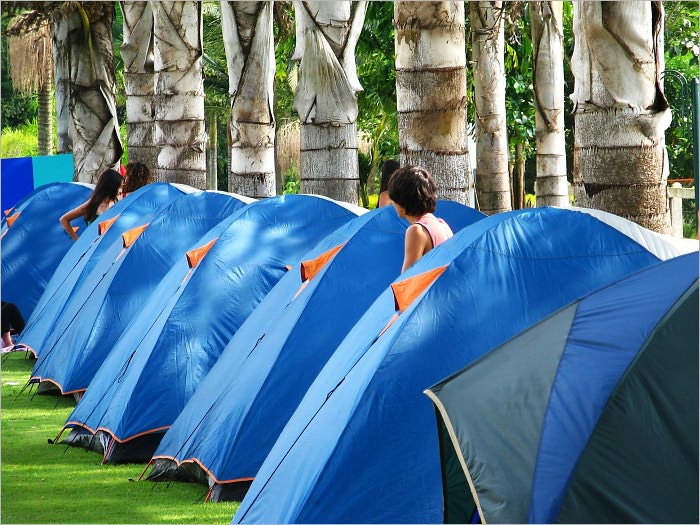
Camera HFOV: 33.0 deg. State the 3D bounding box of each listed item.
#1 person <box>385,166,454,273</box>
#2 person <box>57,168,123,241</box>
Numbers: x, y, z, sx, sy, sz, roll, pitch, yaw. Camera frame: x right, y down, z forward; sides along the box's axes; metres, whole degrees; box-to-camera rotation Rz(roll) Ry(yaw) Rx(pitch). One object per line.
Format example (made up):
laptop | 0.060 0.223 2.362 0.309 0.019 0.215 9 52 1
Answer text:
person | 0.564 -0.226 9.433 0.399 1.067 0.495 0 5 -11
person | -3.120 -0.681 14.119 0.465 0.489 0.994 -10 -37 -39
